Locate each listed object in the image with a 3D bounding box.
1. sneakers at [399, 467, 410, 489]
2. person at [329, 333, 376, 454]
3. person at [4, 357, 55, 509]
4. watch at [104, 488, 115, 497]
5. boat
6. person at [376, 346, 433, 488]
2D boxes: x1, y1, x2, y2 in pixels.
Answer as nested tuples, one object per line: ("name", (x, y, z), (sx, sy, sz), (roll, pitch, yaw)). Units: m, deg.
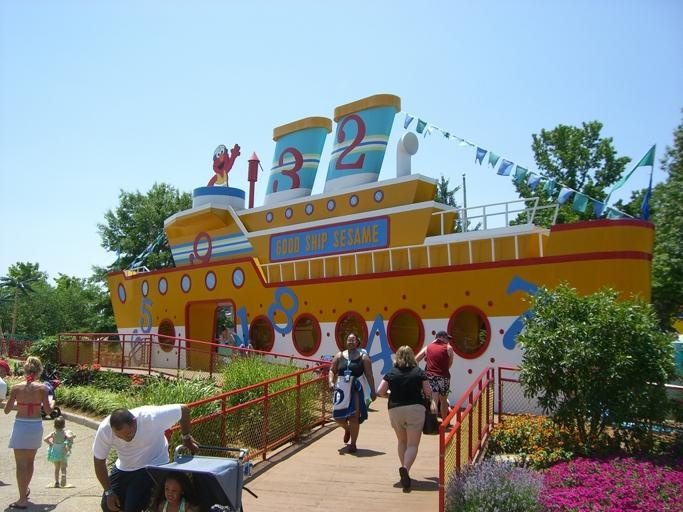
("sneakers", (0.962, 3.345, 8.409), (0.120, 0.446, 0.171), (-4, 5, 5))
("person", (0.182, 2.440, 9.806), (0.784, 2.088, 1.041), (1, -7, -1))
("person", (-5.077, 2.822, 9.011), (0.632, 2.331, 0.896), (6, -8, -31))
("watch", (-2.816, 2.876, 6.790), (0.101, 0.080, 0.095), (-15, -17, 42))
("boat", (-0.110, -0.272, 18.367), (16.112, 8.907, 3.832), (-5, -7, 18))
("person", (0.984, 2.481, 8.533), (0.770, 2.156, 0.374), (0, -7, 10))
